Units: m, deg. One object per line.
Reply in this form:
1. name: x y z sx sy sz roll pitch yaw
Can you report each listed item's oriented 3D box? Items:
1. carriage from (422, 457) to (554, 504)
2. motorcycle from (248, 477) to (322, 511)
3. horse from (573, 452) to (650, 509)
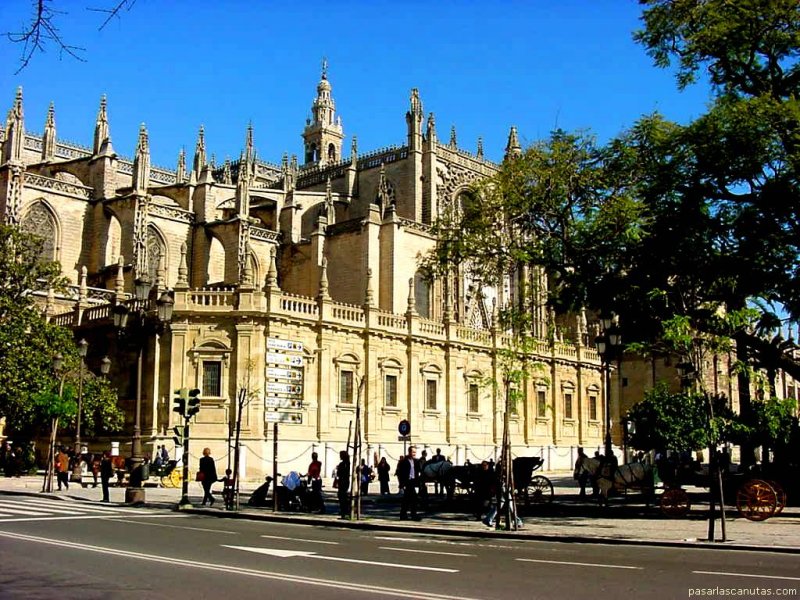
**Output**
1. carriage: 2.033 5.964 38.063 6.259 2.202 2.046 -4 -12 19
2. motorcycle: -3.709 6.764 37.864 2.031 1.142 0.610 -1 -8 9
3. horse: 7.398 6.068 36.846 3.025 1.631 0.746 -2 2 -12
